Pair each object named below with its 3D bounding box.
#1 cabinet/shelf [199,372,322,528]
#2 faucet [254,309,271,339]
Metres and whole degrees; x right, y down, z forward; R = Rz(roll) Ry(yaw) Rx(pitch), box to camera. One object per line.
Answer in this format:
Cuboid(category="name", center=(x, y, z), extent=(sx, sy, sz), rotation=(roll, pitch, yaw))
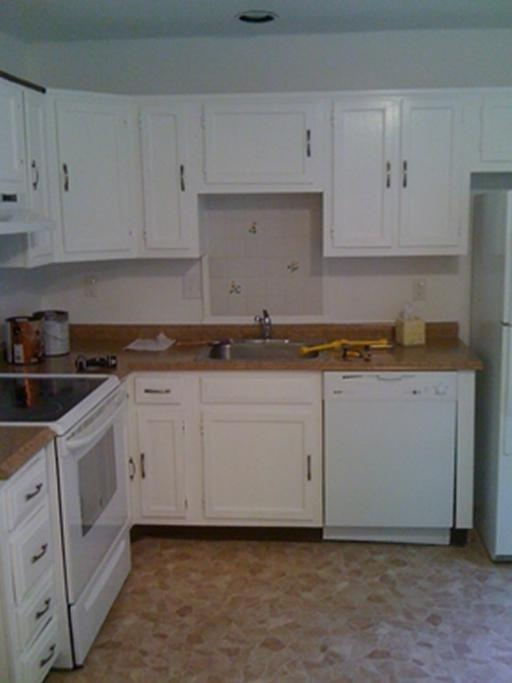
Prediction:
Cuboid(category="cabinet/shelf", center=(0.022, 0.448, 2.818), extent=(0.594, 0.916, 0.575), rotation=(0, 4, 5))
Cuboid(category="faucet", center=(0.037, -0.083, 2.973), extent=(0.088, 0.151, 0.208), rotation=(-1, 7, 0))
